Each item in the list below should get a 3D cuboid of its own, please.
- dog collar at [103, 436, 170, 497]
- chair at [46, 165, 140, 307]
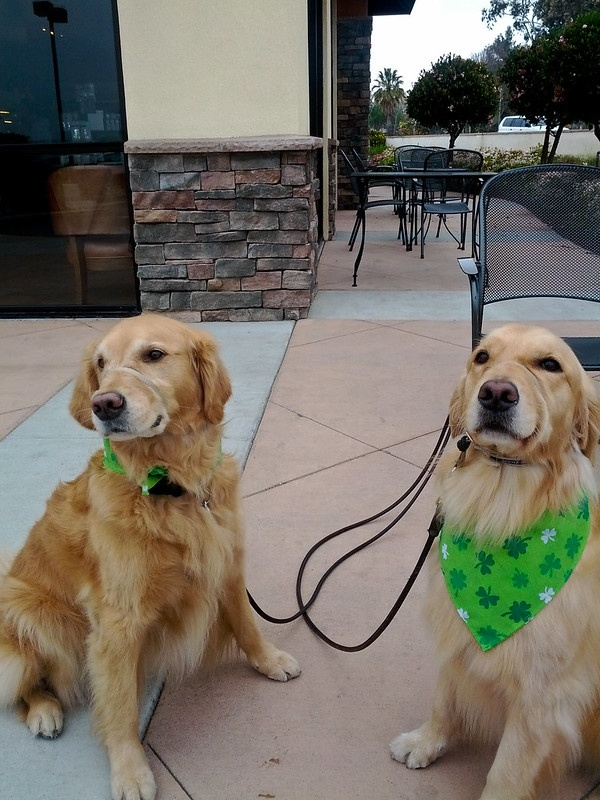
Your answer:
[{"bbox_3d":[-0.436,0.169,1.771,0.185,0.105,0.077,17,30,28],"label":"dog collar"},{"bbox_3d":[-1.683,-1.409,5.652,0.839,1.066,0.882,-4,25,-10],"label":"chair"}]
